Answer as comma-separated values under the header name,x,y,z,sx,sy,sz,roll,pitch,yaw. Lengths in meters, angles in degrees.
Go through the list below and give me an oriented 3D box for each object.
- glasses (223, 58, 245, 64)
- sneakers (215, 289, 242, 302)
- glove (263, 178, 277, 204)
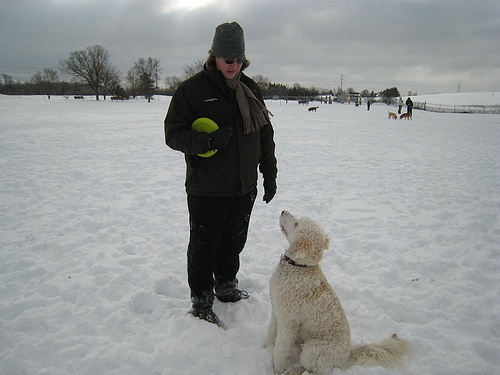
name,x,y,z,sx,sy,sz,roll,pitch,yaw
glasses,-0.181,-1.464,4.270,0.255,0.064,0.069,-10,17,-23
sneakers,-0.287,1.456,5.156,0.391,0.209,0.148,-6,20,-9
glove,0.262,0.043,4.882,0.187,0.309,0.129,0,-2,-4
